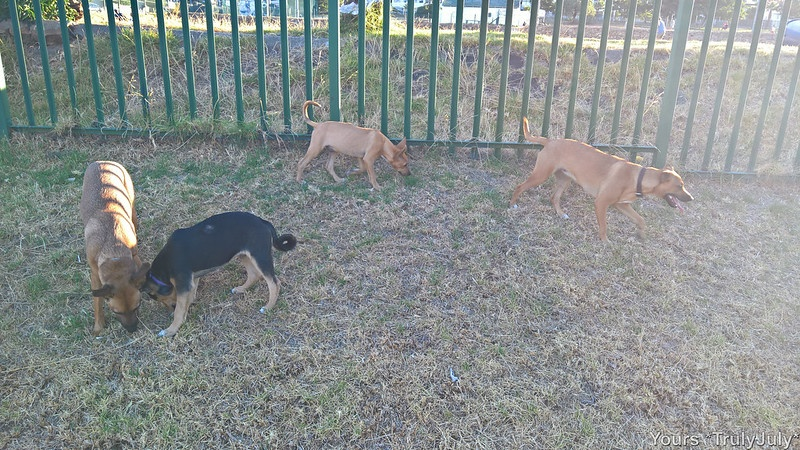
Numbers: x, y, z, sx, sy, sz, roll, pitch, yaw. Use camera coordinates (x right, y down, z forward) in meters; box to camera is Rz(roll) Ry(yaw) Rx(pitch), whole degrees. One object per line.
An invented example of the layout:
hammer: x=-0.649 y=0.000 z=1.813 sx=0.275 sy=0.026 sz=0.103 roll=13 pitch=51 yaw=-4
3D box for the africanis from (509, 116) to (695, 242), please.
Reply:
africanis: x=2.752 y=-0.603 z=7.600 sx=0.616 sy=1.427 sz=2.613 roll=-19 pitch=34 yaw=-41

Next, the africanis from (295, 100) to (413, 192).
africanis: x=-0.707 y=-1.208 z=8.029 sx=1.768 sy=0.990 sz=0.851 roll=7 pitch=27 yaw=1

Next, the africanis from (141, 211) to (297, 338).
africanis: x=-2.380 y=0.568 z=6.351 sx=2.218 sy=1.240 sz=0.721 roll=-11 pitch=22 yaw=-27
